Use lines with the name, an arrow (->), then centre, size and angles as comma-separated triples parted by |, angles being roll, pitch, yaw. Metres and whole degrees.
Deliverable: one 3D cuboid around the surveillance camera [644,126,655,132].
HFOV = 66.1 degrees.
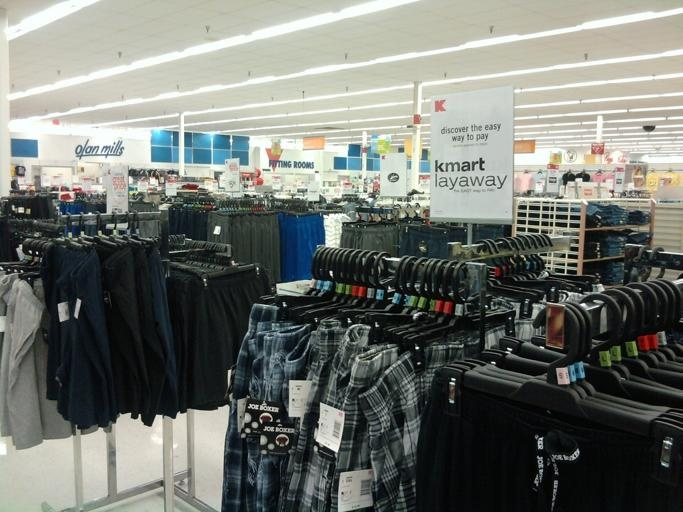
surveillance camera -> 12.609, -5.214, 21.556 | 0.338, 0.217, 0.334 | -1, 2, -35
